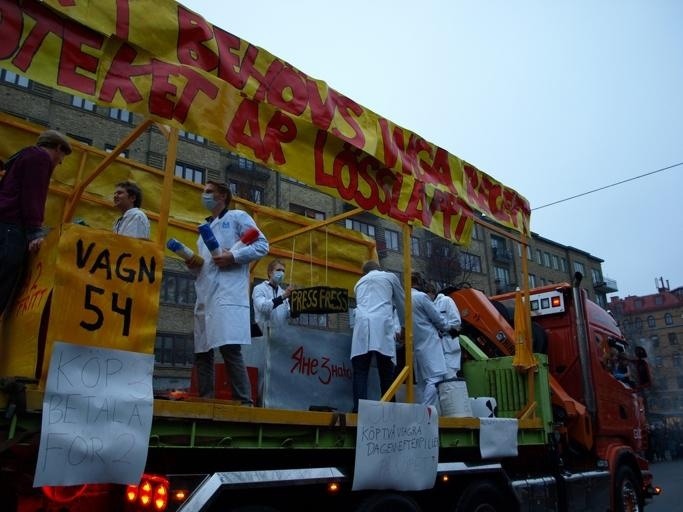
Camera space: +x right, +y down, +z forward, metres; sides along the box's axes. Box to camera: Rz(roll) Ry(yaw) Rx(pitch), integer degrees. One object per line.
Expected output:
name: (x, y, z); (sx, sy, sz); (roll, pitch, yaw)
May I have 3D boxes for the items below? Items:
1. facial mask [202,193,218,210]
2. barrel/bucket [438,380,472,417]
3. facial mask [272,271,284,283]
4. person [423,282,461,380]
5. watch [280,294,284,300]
facial mask: (-1.350, -0.548, 5.207); (0.137, 0.112, 0.139); (-26, 25, -20)
barrel/bucket: (1.295, 1.724, 6.093); (0.368, 0.470, 0.409); (-3, -30, 0)
facial mask: (-0.806, 0.274, 6.571); (0.126, 0.124, 0.134); (-21, -10, 18)
person: (1.385, 1.098, 7.091); (0.426, 1.473, 0.555); (0, -40, 0)
watch: (-0.721, 0.490, 6.125); (0.028, 0.037, 0.033); (7, 20, 9)
